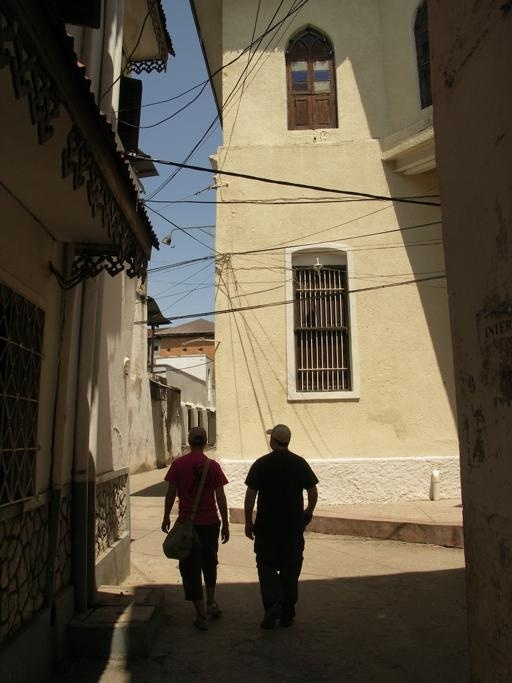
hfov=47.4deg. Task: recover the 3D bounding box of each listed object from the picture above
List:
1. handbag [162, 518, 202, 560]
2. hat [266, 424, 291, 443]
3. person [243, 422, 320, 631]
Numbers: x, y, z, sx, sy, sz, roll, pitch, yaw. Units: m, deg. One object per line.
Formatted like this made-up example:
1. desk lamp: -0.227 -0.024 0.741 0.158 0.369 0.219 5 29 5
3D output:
1. handbag: -0.575 1.517 4.439 0.251 0.308 0.219 0 -9 -9
2. hat: 0.198 0.744 4.789 0.133 0.132 0.208 4 6 -19
3. person: 0.197 1.415 4.535 0.558 1.516 0.364 -1 -8 -2
